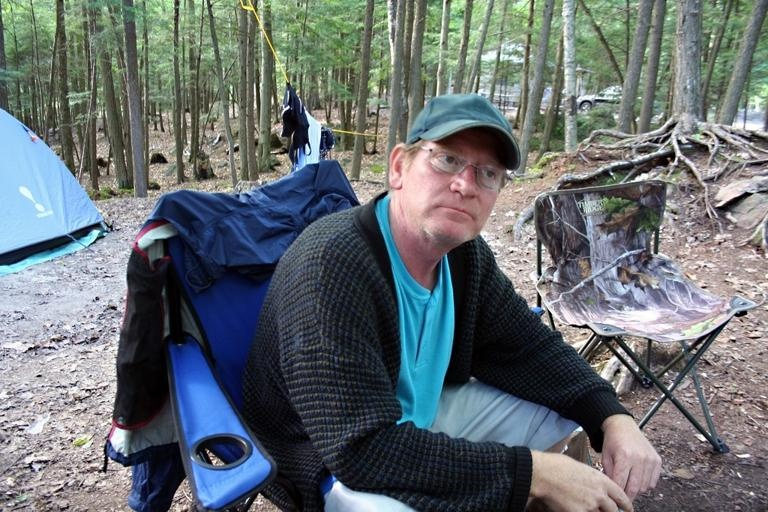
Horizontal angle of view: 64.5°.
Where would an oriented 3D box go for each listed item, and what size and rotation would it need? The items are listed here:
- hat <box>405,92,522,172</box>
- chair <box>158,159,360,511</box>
[{"bbox_3d":[0.532,-0.837,4.111,0.760,0.504,0.248,1,18,0],"label":"hat"},{"bbox_3d":[-1.043,0.479,4.352,1.646,2.112,0.761,0,-4,-43],"label":"chair"}]
